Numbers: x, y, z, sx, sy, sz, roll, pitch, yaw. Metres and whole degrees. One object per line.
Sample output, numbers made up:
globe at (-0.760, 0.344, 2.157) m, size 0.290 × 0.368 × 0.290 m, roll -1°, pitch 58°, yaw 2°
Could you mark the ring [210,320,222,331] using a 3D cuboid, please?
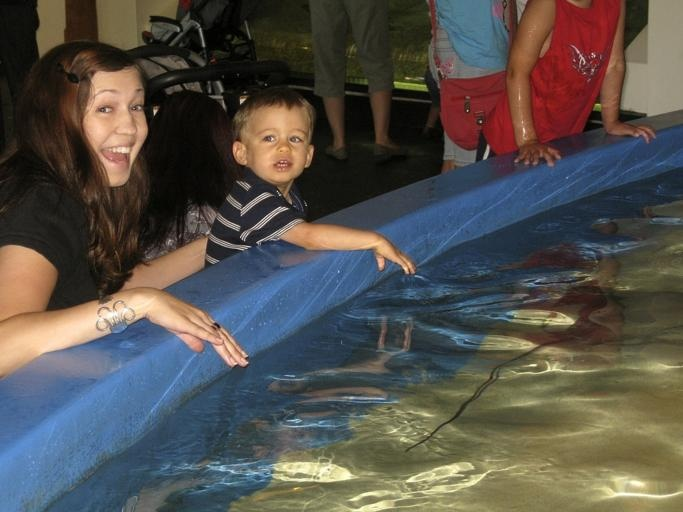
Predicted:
ring at (-0.291, 0.165, 1.431) m, size 0.024 × 0.009 × 0.016 m, roll 31°, pitch 21°, yaw -4°
